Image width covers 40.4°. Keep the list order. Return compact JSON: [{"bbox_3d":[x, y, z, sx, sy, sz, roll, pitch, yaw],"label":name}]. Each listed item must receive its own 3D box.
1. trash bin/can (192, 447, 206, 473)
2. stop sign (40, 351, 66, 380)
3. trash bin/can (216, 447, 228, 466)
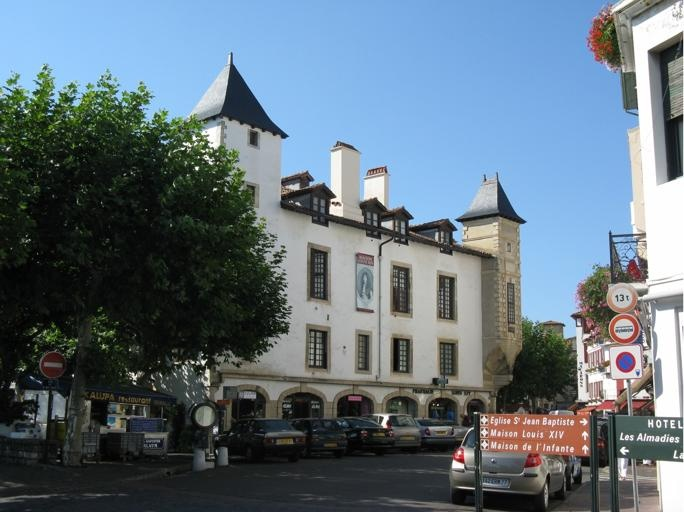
[{"bbox_3d":[-4.373,6.211,28.434,0.454,0.732,0.462,0,-13,-1],"label":"trash bin/can"},{"bbox_3d":[-8.112,2.987,26.021,0.652,0.755,0.506,7,-16,-20],"label":"stop sign"},{"bbox_3d":[-3.868,6.422,29.942,0.470,0.733,0.501,0,-6,-1],"label":"trash bin/can"}]
